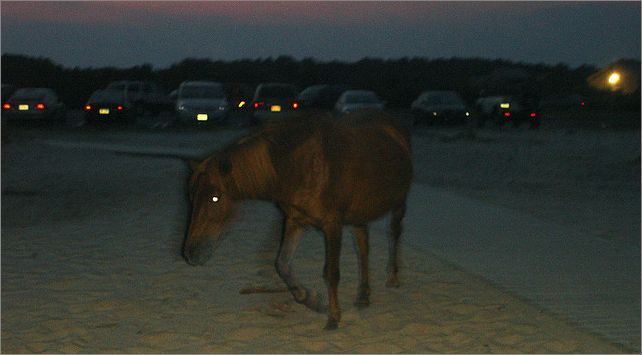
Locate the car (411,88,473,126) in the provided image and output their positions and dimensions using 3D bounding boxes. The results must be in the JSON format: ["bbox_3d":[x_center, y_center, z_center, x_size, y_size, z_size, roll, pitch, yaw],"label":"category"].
[{"bbox_3d":[6.134,-3.565,43.341,2.852,1.772,2.299,0,3,15],"label":"car"}]

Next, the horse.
[{"bbox_3d":[-0.088,1.099,22.086,7.831,5.771,2.324,-11,15,-42],"label":"horse"}]

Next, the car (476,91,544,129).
[{"bbox_3d":[9.885,-3.571,44.731,1.804,1.761,4.453,0,1,-2],"label":"car"}]

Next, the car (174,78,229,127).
[{"bbox_3d":[-5.052,-3.157,35.661,1.519,1.510,4.140,0,3,-11],"label":"car"}]

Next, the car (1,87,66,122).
[{"bbox_3d":[-13.834,-3.501,40.760,1.487,1.607,3.456,0,3,19],"label":"car"}]

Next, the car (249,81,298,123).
[{"bbox_3d":[-2.008,-3.291,39.212,2.163,1.882,3.963,0,1,-5],"label":"car"}]
